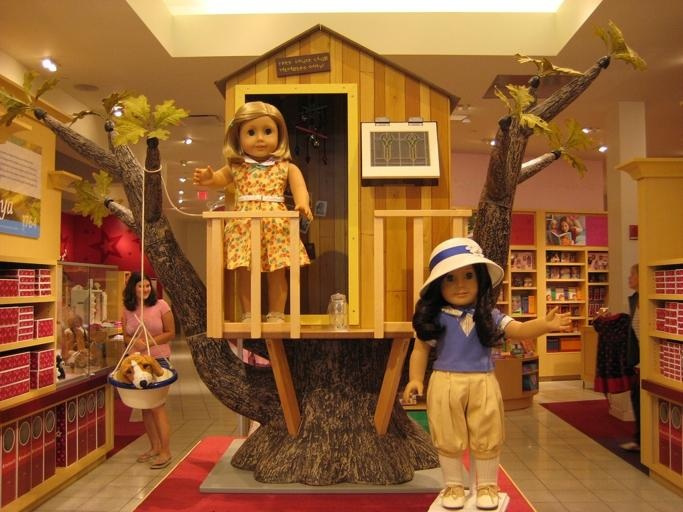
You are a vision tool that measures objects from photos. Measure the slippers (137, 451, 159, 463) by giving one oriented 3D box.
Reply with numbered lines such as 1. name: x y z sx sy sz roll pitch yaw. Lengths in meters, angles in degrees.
1. slippers: -1.888 1.951 5.073 0.226 0.095 0.084 4 -4 -15

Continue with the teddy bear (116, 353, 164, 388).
1. teddy bear: -1.359 0.765 3.474 0.180 0.118 0.248 -2 -3 -18

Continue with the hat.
1. hat: 0.686 0.030 2.991 0.377 0.209 0.334 5 -39 -15

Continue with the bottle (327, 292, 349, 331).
1. bottle: -0.015 0.373 3.445 0.150 0.263 0.156 2 -3 0

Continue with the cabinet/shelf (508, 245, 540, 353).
1. cabinet/shelf: 3.028 0.777 8.632 0.368 1.639 0.242 -4 -38 26

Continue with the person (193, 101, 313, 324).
1. person: -0.574 -0.319 3.422 0.738 1.472 0.538 0 -1 -4

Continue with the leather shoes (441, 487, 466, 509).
1. leather shoes: 0.584 1.271 2.742 0.119 0.110 0.070 0 -1 6

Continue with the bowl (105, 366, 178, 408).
1. bowl: -1.380 0.938 3.603 0.428 0.295 0.451 0 -1 0

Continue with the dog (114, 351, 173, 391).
1. dog: -1.422 0.767 3.598 0.362 0.198 0.502 -20 10 -28

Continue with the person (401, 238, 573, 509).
1. person: 0.733 0.609 2.902 0.747 1.441 0.407 0 -1 9
